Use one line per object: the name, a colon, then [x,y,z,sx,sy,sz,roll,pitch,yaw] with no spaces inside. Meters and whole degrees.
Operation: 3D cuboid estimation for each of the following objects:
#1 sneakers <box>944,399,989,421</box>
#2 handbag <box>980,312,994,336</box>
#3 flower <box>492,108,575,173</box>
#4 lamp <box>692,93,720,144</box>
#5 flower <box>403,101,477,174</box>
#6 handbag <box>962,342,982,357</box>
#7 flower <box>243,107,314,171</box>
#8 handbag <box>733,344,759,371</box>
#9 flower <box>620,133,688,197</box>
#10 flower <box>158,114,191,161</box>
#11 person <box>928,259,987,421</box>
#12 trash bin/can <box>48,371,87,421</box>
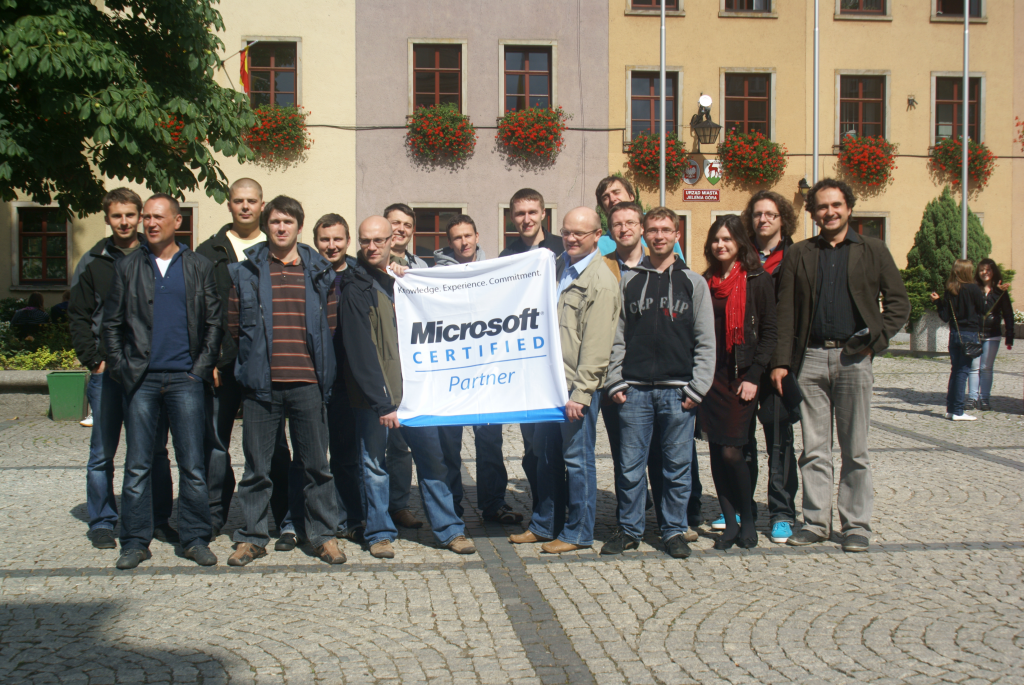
sneakers: [6.527,0.972,19.711,0.542,0.233,0.182,-10,16,-29]
handbag: [7.019,-0.300,20.300,0.253,0.344,0.182,11,29,36]
flower: [0.425,-4.905,31.685,1.464,1.464,0.879,7,-38,2]
lamp: [4.403,-5.213,31.411,0.717,1.222,2.117,0,6,9]
flower: [-1.694,-4.690,30.976,1.431,0.998,1.431,-17,-47,21]
handbag: [6.639,0.094,19.773,0.233,0.237,0.091,18,-14,-3]
flower: [-5.188,-4.606,30.426,1.385,1.366,0.726,-1,6,-9]
handbag: [2.275,0.142,13.402,0.224,0.174,0.123,12,-9,-28]
flower: [3.302,-4.176,31.826,1.280,1.321,0.819,0,-8,-2]
flower: [-5.067,-3.079,20.474,0.391,0.650,1.715,-2,6,-13]
person: [6.515,-0.074,19.897,0.643,2.204,1.511,1,6,19]
trash bin/can: [-6.200,0.717,18.996,0.572,0.705,0.494,3,11,2]
